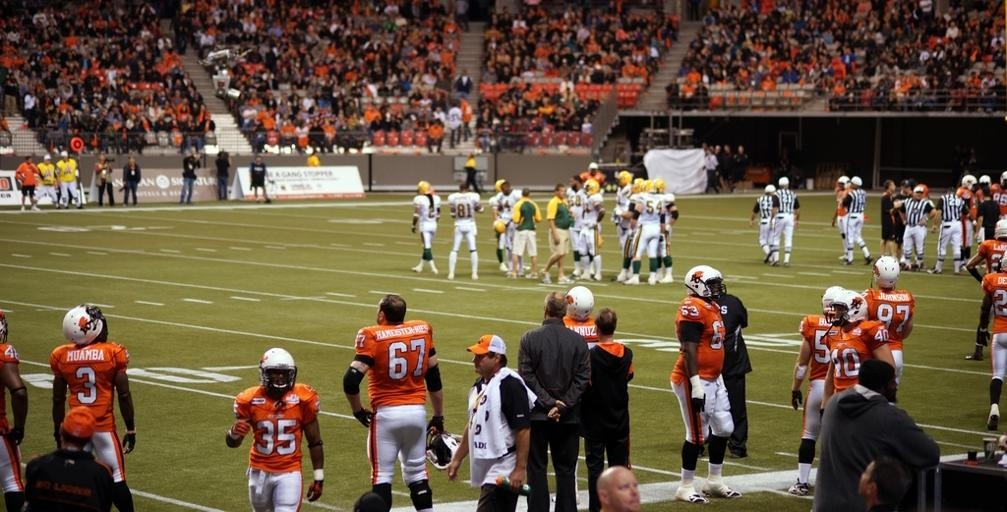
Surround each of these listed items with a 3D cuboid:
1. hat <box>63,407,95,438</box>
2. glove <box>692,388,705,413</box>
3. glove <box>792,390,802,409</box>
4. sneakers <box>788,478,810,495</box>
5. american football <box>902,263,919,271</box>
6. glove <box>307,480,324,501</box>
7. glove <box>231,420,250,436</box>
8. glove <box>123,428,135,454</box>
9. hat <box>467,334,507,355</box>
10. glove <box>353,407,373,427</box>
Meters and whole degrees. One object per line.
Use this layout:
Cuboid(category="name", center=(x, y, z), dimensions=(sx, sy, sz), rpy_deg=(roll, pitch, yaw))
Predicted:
Cuboid(category="hat", center=(-7.720, 2.989, 21.788), dimensions=(0.447, 0.305, 0.617), rpy_deg=(9, 27, -15))
Cuboid(category="glove", center=(3.981, 2.938, 24.120), dimensions=(0.307, 0.397, 0.165), rpy_deg=(-2, 4, -18))
Cuboid(category="glove", center=(6.214, 2.992, 25.152), dimensions=(0.160, 0.467, 0.550), rpy_deg=(1, 4, 18))
Cuboid(category="sneakers", center=(6.038, 4.683, 24.371), dimensions=(0.230, 0.222, 0.495), rpy_deg=(4, -1, -41))
Cuboid(category="american football", center=(13.458, 0.384, 39.211), dimensions=(0.687, 0.276, 0.216), rpy_deg=(-4, 21, -12))
Cuboid(category="glove", center=(-3.625, 4.509, 23.113), dimensions=(0.247, 0.284, 0.749), rpy_deg=(-29, 2, -7))
Cuboid(category="glove", center=(-4.923, 3.207, 22.570), dimensions=(0.361, 0.299, 0.278), rpy_deg=(0, 7, 13))
Cuboid(category="glove", center=(-7.417, 3.626, 23.652), dimensions=(0.194, 0.540, 0.536), rpy_deg=(-2, 4, -12))
Cuboid(category="hat", center=(-0.313, 1.708, 22.851), dimensions=(0.687, 0.331, 0.461), rpy_deg=(1, -4, -2))
Cuboid(category="glove", center=(-2.711, 3.094, 23.288), dimensions=(0.341, 0.341, 0.258), rpy_deg=(-1, 4, -6))
